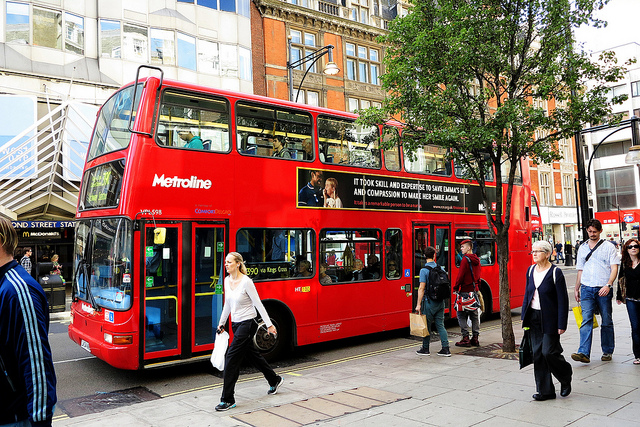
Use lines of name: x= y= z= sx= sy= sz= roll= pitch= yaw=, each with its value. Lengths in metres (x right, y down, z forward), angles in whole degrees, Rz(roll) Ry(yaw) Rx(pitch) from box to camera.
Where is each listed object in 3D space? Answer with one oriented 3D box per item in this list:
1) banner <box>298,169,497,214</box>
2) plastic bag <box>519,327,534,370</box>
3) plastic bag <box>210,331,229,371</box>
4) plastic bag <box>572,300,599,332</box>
banner: x=2.168 y=-0.510 z=14.279 sx=7.927 sy=1.098 sz=0.069 roll=2 pitch=-7 yaw=-32
plastic bag: x=3.754 y=2.422 z=9.732 sx=0.207 sy=0.710 sz=0.145 roll=-1 pitch=2 yaw=13
plastic bag: x=-1.863 y=2.533 z=9.860 sx=0.308 sy=0.680 sz=0.367 roll=-2 pitch=2 yaw=4
plastic bag: x=5.598 y=2.144 z=11.241 sx=0.416 sy=0.590 sz=0.395 roll=-1 pitch=2 yaw=29
